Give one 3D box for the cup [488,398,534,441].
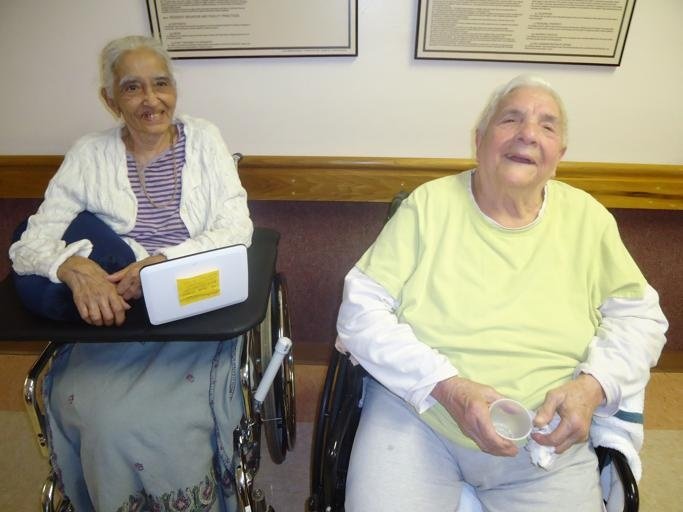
[{"bbox_3d":[0.537,0.514,1.726,0.130,0.102,0.141,11,55,-15],"label":"cup"}]
